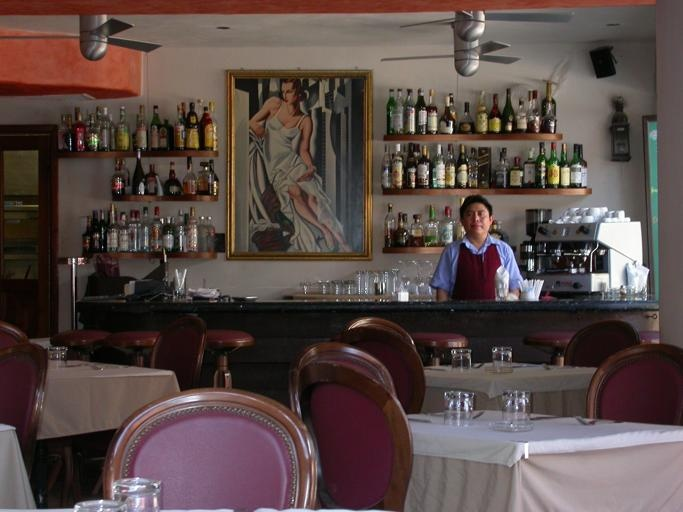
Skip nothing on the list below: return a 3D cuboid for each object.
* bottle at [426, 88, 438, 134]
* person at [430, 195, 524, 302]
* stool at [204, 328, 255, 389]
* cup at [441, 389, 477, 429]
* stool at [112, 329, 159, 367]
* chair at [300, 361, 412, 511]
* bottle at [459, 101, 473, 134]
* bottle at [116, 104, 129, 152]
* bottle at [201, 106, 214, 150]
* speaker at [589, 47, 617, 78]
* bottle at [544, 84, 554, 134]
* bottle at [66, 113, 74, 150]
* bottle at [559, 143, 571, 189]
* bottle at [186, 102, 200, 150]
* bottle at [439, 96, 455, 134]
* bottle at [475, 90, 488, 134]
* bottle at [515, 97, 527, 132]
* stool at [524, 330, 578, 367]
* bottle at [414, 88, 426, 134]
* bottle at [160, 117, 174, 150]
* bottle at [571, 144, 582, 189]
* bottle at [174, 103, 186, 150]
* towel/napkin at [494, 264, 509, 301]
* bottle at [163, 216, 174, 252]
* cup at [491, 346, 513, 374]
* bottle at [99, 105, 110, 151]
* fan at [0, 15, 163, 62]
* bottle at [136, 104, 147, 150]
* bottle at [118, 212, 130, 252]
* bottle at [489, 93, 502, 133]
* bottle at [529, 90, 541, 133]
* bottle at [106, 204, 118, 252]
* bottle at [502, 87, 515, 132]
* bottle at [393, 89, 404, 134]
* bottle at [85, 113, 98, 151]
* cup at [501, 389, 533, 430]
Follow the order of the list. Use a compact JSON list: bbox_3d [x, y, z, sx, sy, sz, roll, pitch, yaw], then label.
[{"bbox_3d":[0.873,-1.357,6.720,0.097,0.441,0.261,0,0,6],"label":"bottle"},{"bbox_3d":[0.975,-0.054,5.055,0.654,0.743,0.369,0,0,10],"label":"person"},{"bbox_3d":[-0.747,0.590,4.558,0.425,0.494,0.429,0,3,-12],"label":"stool"},{"bbox_3d":[0.406,0.540,2.477,0.100,0.114,0.102,1,0,0],"label":"cup"},{"bbox_3d":[-1.335,0.543,4.486,0.311,0.296,0.276,1,0,-36],"label":"stool"},{"bbox_3d":[0.059,0.534,2.288,0.323,0.582,0.405,2,2,30],"label":"chair"},{"bbox_3d":[1.200,-1.326,6.716,0.138,0.331,0.151,0,0,0],"label":"bottle"},{"bbox_3d":[-2.130,-1.226,6.821,0.130,0.434,0.176,0,0,-14],"label":"bottle"},{"bbox_3d":[-1.291,-1.231,6.763,0.115,0.467,0.195,0,0,-9],"label":"bottle"},{"bbox_3d":[2.502,-1.859,6.694,0.254,0.303,0.174,0,0,16],"label":"speaker"},{"bbox_3d":[1.988,-1.411,6.684,0.112,0.540,0.263,0,0,20],"label":"bottle"},{"bbox_3d":[-2.657,-1.205,6.831,0.084,0.386,0.175,0,0,-22],"label":"bottle"},{"bbox_3d":[2.122,-0.854,6.669,0.090,0.429,0.245,0,0,18],"label":"bottle"},{"bbox_3d":[-1.437,-1.251,6.775,0.126,0.474,0.187,0,0,-13],"label":"bottle"},{"bbox_3d":[1.005,-1.337,6.713,0.156,0.395,0.205,0,0,15],"label":"bottle"},{"bbox_3d":[1.341,-1.370,6.707,0.114,0.427,0.137,0,0,9],"label":"bottle"},{"bbox_3d":[1.720,-1.349,6.698,0.112,0.363,0.191,0,0,15],"label":"bottle"},{"bbox_3d":[1.279,0.531,4.300,0.223,0.217,0.241,0,-1,36],"label":"stool"},{"bbox_3d":[0.764,-1.371,6.726,0.107,0.473,0.275,0,0,4],"label":"bottle"},{"bbox_3d":[-1.691,-1.174,6.789,0.133,0.309,0.132,0,0,0],"label":"bottle"},{"bbox_3d":[2.210,-0.845,6.617,0.093,0.409,0.093,0,0,0],"label":"bottle"},{"bbox_3d":[-1.556,-1.238,6.750,0.106,0.448,0.151,0,0,-15],"label":"bottle"},{"bbox_3d":[1.145,0.190,4.991,0.095,0.232,0.247,0,-1,13],"label":"towel/napkin"},{"bbox_3d":[-1.676,-0.208,6.763,0.106,0.336,0.202,0,0,-17],"label":"bottle"},{"bbox_3d":[0.770,0.493,3.358,0.103,0.158,0.108,0,4,0],"label":"cup"},{"bbox_3d":[-2.278,-1.233,6.818,0.100,0.449,0.137,0,0,22],"label":"bottle"},{"bbox_3d":[-1.601,-1.402,4.551,0.582,0.270,0.558,3,2,16],"label":"fan"},{"bbox_3d":[-1.934,-1.245,6.782,0.112,0.484,0.188,0,0,-18],"label":"bottle"},{"bbox_3d":[-2.108,-0.227,6.779,0.099,0.374,0.230,0,0,-18],"label":"bottle"},{"bbox_3d":[1.468,-1.351,6.705,0.123,0.399,0.178,0,0,16],"label":"bottle"},{"bbox_3d":[1.842,-1.378,6.687,0.115,0.450,0.218,0,0,19],"label":"bottle"},{"bbox_3d":[-2.211,-0.266,6.769,0.092,0.466,0.274,0,0,-19],"label":"bottle"},{"bbox_3d":[1.594,-1.383,6.691,0.119,0.469,0.201,0,0,14],"label":"bottle"},{"bbox_3d":[0.549,-1.379,6.723,0.093,0.472,0.187,0,0,7],"label":"bottle"},{"bbox_3d":[-2.425,-1.202,6.813,0.159,0.384,0.086,0,-1,44],"label":"bottle"},{"bbox_3d":[0.581,0.517,2.382,0.106,0.128,0.104,-1,0,0],"label":"cup"}]
